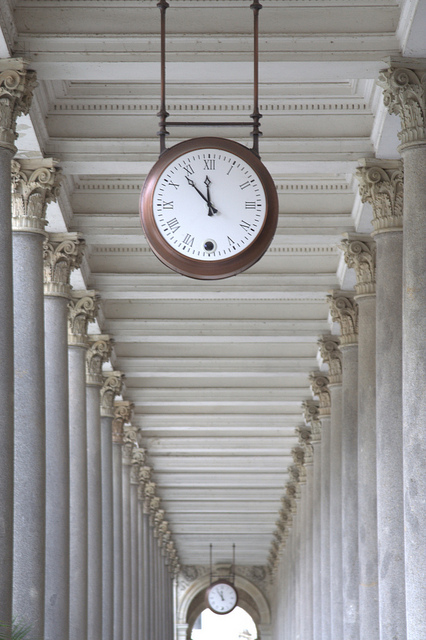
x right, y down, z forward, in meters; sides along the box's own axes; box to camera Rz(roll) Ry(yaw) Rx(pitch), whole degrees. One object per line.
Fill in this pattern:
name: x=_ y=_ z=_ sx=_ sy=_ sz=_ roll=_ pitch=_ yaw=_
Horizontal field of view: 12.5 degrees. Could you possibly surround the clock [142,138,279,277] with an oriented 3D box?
clock: x=0.004 y=-0.941 z=19.553 sx=1.239 sy=1.398 sz=1.384 roll=10 pitch=-27 yaw=6
